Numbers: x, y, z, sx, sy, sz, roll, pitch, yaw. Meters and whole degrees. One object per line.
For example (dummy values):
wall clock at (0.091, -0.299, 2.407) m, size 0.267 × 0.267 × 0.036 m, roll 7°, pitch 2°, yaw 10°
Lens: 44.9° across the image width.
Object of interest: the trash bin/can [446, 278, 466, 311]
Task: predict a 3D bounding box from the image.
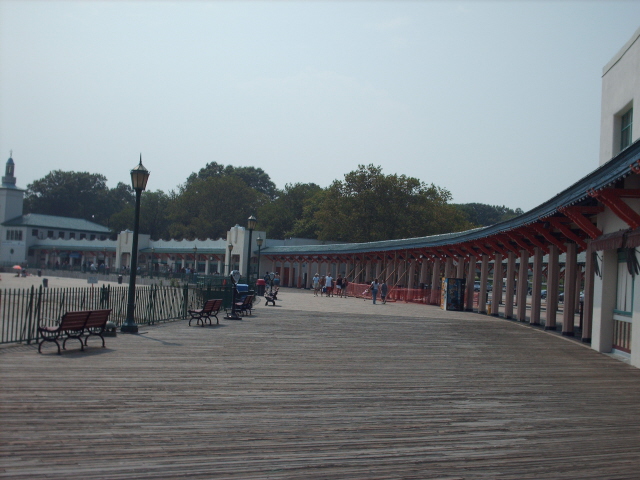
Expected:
trash bin/can at (6.288, 2.504, 35.939) m, size 0.845 × 1.487 × 0.510 m, roll 2°, pitch 4°, yaw 10°

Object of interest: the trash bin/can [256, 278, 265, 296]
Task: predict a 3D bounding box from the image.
trash bin/can at (-3.387, 2.728, 44.587) m, size 0.689 × 1.122 × 0.762 m, roll 1°, pitch -5°, yaw -4°

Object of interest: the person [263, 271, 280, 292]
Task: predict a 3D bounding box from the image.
person at (-3.594, 3.117, 58.324) m, size 1.017 × 1.245 × 2.039 m, roll -1°, pitch -7°, yaw -11°

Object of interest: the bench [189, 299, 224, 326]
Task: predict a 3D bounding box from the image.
bench at (-3.631, 2.275, 24.605) m, size 0.973 × 0.968 × 2.423 m, roll 1°, pitch 3°, yaw -8°

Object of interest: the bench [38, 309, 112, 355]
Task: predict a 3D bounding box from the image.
bench at (-5.660, 2.105, 18.014) m, size 0.751 × 1.032 × 1.858 m, roll 3°, pitch -2°, yaw 15°
